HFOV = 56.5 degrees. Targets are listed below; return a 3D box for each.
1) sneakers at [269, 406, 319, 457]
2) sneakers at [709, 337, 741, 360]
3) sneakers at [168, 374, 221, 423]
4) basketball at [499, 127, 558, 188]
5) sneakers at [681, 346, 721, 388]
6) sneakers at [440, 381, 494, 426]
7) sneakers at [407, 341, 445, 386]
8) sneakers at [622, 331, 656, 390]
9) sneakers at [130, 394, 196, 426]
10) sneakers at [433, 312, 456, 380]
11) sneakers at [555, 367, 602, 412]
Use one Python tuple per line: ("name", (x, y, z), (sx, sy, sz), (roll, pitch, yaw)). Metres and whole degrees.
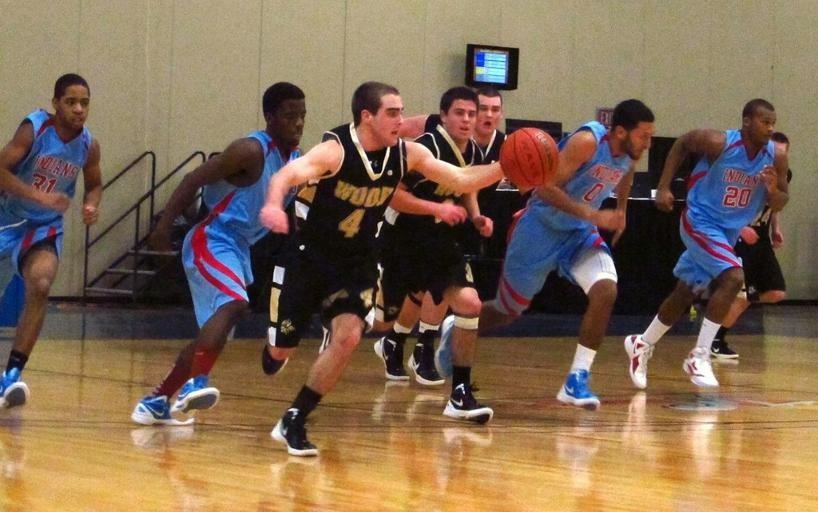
("sneakers", (-0.642, 0.988, 4.309), (0.318, 0.225, 0.121), (16, 6, 39))
("sneakers", (3.145, 0.924, 7.716), (0.168, 0.225, 0.479), (5, -2, -30))
("sneakers", (-1.350, 0.870, 4.648), (0.217, 0.223, 0.499), (-4, -14, -28))
("basketball", (0.751, -0.604, 4.753), (0.348, 0.412, 0.352), (-18, 13, 2))
("sneakers", (2.379, 0.884, 6.144), (0.270, 0.320, 0.263), (3, 2, 21))
("sneakers", (0.397, 0.966, 4.991), (0.148, 0.226, 0.398), (15, -9, -35))
("sneakers", (0.141, 0.847, 6.121), (0.177, 0.251, 0.518), (3, 11, -19))
("sneakers", (1.884, 0.834, 6.218), (0.164, 0.512, 0.226), (-5, -12, -35))
("sneakers", (-1.558, 0.957, 4.779), (0.404, 0.194, 0.160), (2, -3, -16))
("sneakers", (0.280, 0.691, 5.834), (0.163, 0.470, 0.184), (-1, -29, 4))
("sneakers", (1.190, 0.897, 5.255), (0.167, 0.280, 0.403), (14, -7, -22))
